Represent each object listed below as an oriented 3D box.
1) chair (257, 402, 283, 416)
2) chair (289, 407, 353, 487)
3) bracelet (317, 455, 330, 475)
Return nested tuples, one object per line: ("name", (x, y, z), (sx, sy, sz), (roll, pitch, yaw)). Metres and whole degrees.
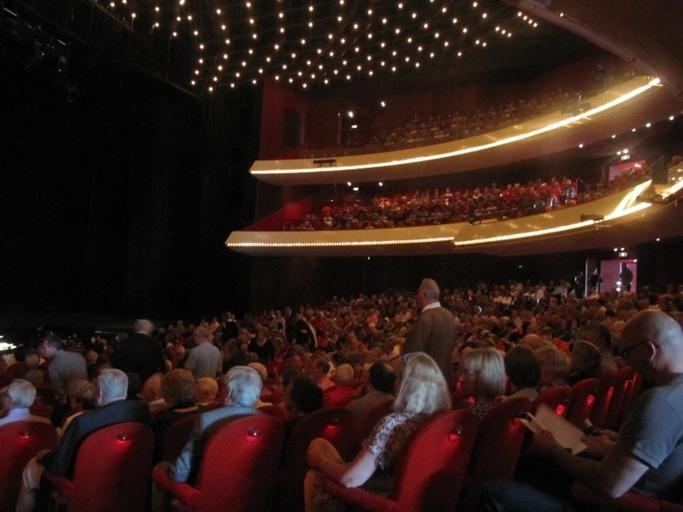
("chair", (-0.544, 1.173, 3.932), (0.193, 0.117, 0.126), (1, 5, -14))
("chair", (-0.156, 1.231, 3.353), (0.363, 0.572, 0.448), (8, -14, -27))
("bracelet", (-0.099, 1.163, 2.840), (0.077, 0.084, 0.078), (-1, -4, 45))
